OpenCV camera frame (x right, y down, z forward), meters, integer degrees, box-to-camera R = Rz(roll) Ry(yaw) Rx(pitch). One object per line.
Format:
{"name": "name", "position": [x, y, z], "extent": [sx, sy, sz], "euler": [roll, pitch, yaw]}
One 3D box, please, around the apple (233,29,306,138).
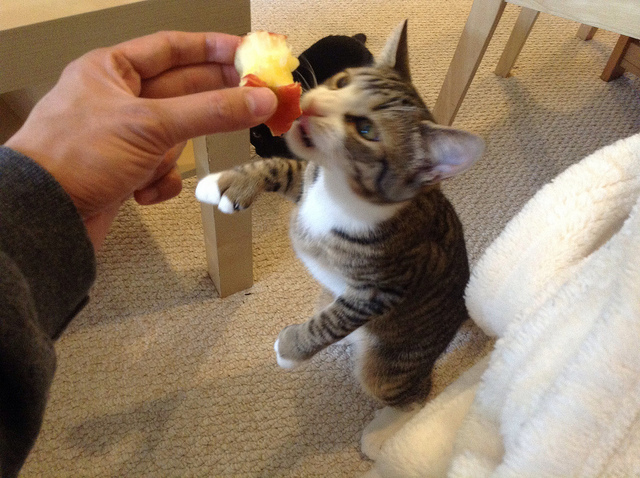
{"name": "apple", "position": [-0.084, -0.261, 0.959], "extent": [0.128, 0.190, 0.069], "euler": [-22, 18, -13]}
